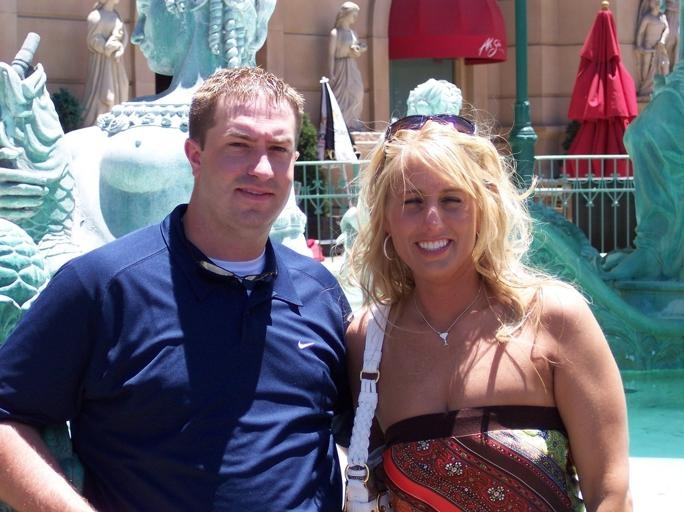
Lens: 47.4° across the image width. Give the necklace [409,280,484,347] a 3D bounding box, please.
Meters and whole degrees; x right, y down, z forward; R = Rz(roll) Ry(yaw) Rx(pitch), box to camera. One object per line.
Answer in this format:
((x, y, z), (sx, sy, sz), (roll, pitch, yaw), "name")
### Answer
((0.420, 0.226, 3.111), (0.229, 0.253, 0.069), (-2, -29, 24), "necklace")
